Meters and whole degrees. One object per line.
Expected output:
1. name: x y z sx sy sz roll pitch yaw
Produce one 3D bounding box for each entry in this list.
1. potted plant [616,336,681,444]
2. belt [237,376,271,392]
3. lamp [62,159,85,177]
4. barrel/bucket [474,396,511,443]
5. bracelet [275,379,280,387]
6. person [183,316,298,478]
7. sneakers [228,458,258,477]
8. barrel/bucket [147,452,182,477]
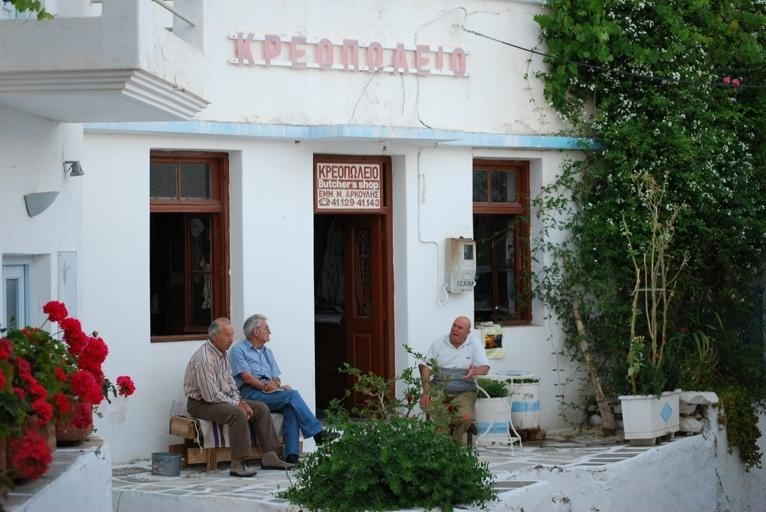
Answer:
1. potted plant: 3.692 1.921 12.841 0.608 1.840 1.294 -3 -4 29
2. belt: -1.644 1.640 11.995 0.288 0.129 0.220 24 -2 -4
3. lamp: -3.744 -1.068 11.182 0.192 0.169 0.155 2 0 7
4. barrel/bucket: 1.524 2.236 12.866 0.513 0.662 0.555 0 -1 0
5. bracelet: -1.391 1.670 12.227 0.055 0.083 0.068 -1 -7 0
6. person: -1.894 1.752 11.613 1.172 1.954 0.664 -1 -5 -14
7. sneakers: -1.752 2.618 11.428 0.382 0.315 0.154 -2 -5 13
8. barrel/bucket: -2.711 2.597 11.561 0.373 0.287 0.358 -2 -5 0
